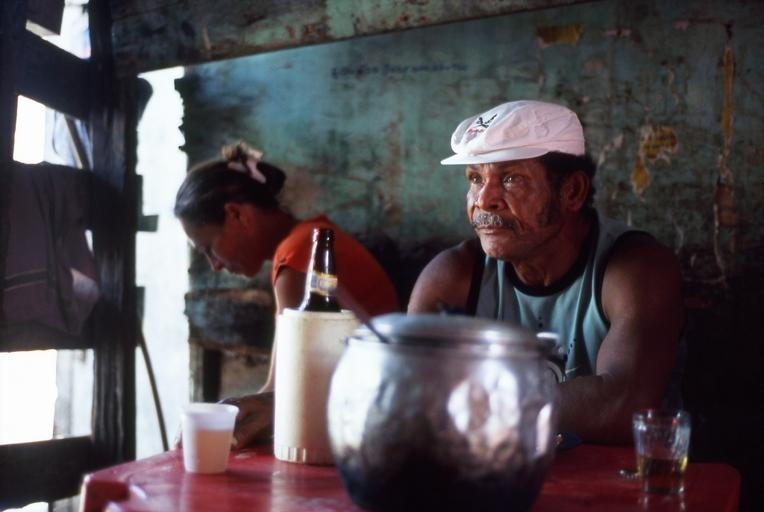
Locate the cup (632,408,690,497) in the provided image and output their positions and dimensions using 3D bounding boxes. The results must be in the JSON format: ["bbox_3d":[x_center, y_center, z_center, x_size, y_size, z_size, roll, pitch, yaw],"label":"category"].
[{"bbox_3d":[0.951,0.662,2.877,0.206,0.276,0.238,-3,-26,20],"label":"cup"}]

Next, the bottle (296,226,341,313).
[{"bbox_3d":[-0.216,0.045,3.014,0.146,0.318,0.172,1,-5,-5],"label":"bottle"}]

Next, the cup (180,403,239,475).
[{"bbox_3d":[-0.602,0.629,2.952,0.203,0.227,0.210,2,-4,0],"label":"cup"}]

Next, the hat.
[{"bbox_3d":[0.606,-0.521,3.743,0.431,0.172,0.331,-4,2,-11],"label":"hat"}]
